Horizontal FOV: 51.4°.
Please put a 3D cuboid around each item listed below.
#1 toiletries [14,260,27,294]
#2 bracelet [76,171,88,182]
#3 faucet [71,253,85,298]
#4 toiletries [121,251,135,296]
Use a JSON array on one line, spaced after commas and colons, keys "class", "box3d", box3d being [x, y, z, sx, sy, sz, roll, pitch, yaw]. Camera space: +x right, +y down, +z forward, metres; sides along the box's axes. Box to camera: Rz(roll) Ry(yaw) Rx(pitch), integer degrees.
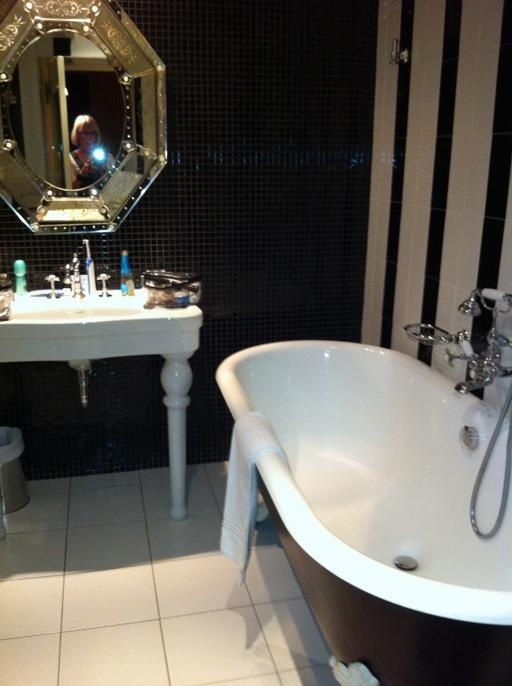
[{"class": "toiletries", "box3d": [-1.023, -0.286, 2.322, 0.057, 0.147, 0.056, -10, 16, -41]}, {"class": "bracelet", "box3d": [-0.760, -0.725, 2.325, 0.014, 0.045, 0.048, 8, 20, 1]}, {"class": "faucet", "box3d": [-0.802, -0.302, 2.382, 0.056, 0.189, 0.160, -3, 13, -18]}, {"class": "toiletries", "box3d": [-0.574, -0.318, 2.412, 0.061, 0.197, 0.112, 6, 13, 23]}]
